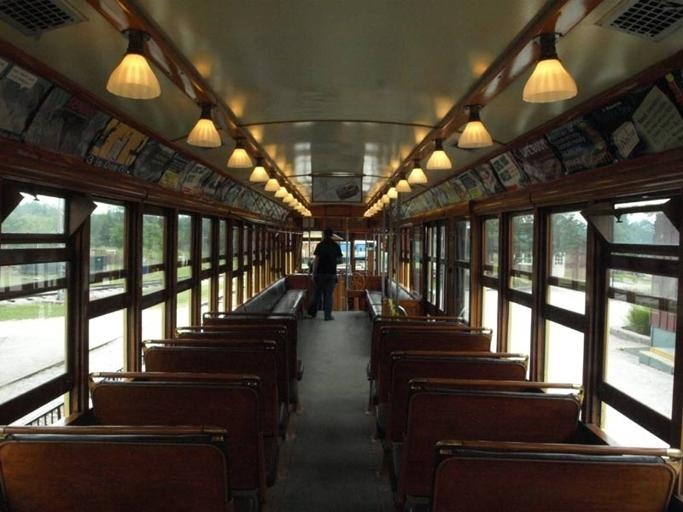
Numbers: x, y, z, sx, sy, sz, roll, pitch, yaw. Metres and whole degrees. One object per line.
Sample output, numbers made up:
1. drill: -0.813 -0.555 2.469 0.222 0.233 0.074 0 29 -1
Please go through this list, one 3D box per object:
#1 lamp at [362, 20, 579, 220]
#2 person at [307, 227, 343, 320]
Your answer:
1. lamp: 0.645 -0.770 4.072 0.412 0.585 2.765 -13 -11 -39
2. person: -0.342 0.427 11.272 0.646 2.152 1.062 -1 5 -14
